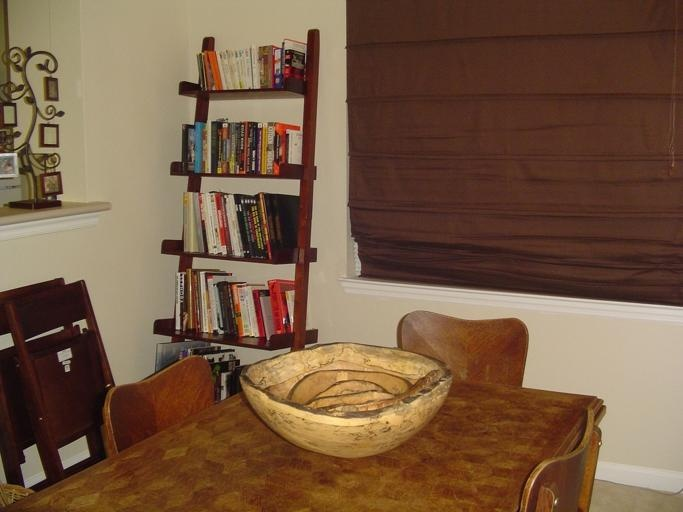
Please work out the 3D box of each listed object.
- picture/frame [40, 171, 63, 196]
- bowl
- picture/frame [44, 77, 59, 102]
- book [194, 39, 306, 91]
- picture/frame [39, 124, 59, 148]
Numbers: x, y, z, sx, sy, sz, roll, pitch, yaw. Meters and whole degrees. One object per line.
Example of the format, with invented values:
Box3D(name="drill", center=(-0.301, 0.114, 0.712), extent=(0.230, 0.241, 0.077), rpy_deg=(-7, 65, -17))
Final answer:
Box3D(name="picture/frame", center=(-1.474, -0.365, 2.663), extent=(0.009, 0.123, 0.133), rpy_deg=(2, 6, 26))
Box3D(name="bowl", center=(0.002, 0.406, 1.562), extent=(0.396, 0.158, 0.382), rpy_deg=(-2, 5, 0))
Box3D(name="picture/frame", center=(-1.515, -0.870, 2.749), extent=(0.076, 0.116, 0.043), rpy_deg=(-13, 19, -43))
Box3D(name="book", center=(-0.534, -1.075, 3.001), extent=(0.656, 0.255, 0.226), rpy_deg=(5, 14, 19))
Box3D(name="picture/frame", center=(-1.524, -0.624, 2.734), extent=(0.016, 0.122, 0.120), rpy_deg=(5, 4, 28))
